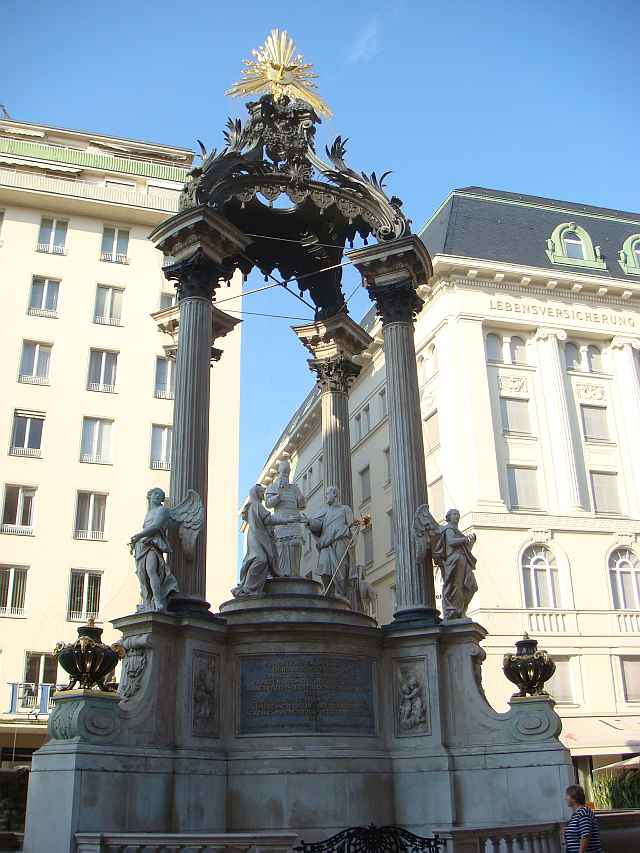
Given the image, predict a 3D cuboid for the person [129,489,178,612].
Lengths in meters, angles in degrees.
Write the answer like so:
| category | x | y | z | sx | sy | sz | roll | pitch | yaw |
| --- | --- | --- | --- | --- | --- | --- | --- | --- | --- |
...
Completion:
| category | x | y | z | sx | sy | sz | roll | pitch | yaw |
| --- | --- | --- | --- | --- | --- | --- | --- | --- | --- |
| person | -2.619 | 1.959 | 13.598 | 0.784 | 1.834 | 1.242 | 5 | 3 | -9 |
